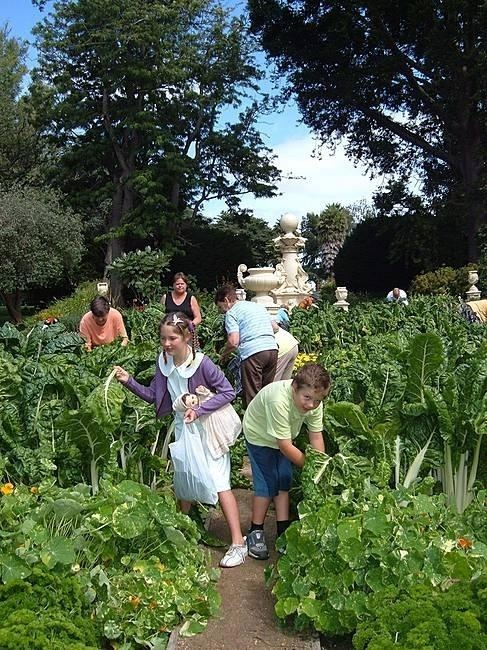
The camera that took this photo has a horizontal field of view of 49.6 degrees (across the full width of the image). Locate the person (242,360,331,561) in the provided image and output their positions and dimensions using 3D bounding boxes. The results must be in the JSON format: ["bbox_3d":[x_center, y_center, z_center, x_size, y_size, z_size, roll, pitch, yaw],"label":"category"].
[{"bbox_3d":[0.223,0.744,2.844,0.399,1.154,0.733,4,2,-10],"label":"person"}]

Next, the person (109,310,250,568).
[{"bbox_3d":[-0.215,0.610,2.814,0.542,1.324,0.274,4,3,-10],"label":"person"}]

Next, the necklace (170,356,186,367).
[{"bbox_3d":[-0.346,0.195,2.770,0.051,0.062,0.024,0,20,8],"label":"necklace"}]

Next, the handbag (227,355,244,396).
[{"bbox_3d":[-0.095,0.486,5.224,0.080,0.345,0.234,0,1,-37],"label":"handbag"}]

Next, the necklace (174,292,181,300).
[{"bbox_3d":[-0.772,-0.336,6.140,0.081,0.056,0.076,0,-3,1],"label":"necklace"}]

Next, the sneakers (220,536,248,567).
[{"bbox_3d":[-0.050,1.222,2.829,0.079,0.073,0.180,-4,0,20],"label":"sneakers"}]

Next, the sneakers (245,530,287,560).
[{"bbox_3d":[0.110,1.205,2.930,0.130,0.158,0.372,1,-9,-9],"label":"sneakers"}]
